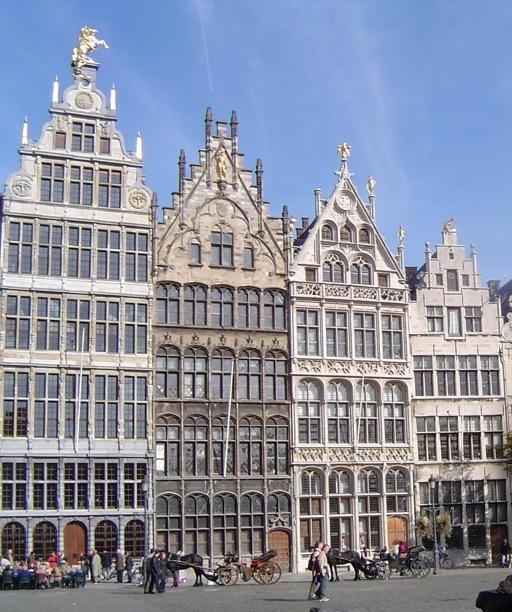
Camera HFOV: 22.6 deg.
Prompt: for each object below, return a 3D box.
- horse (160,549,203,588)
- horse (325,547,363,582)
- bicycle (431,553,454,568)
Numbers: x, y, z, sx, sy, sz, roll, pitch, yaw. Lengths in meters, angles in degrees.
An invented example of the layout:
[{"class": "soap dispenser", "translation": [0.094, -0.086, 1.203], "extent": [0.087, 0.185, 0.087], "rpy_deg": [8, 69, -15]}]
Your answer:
[{"class": "horse", "translation": [-2.933, 10.586, 52.318], "extent": [1.744, 1.785, 2.049], "rpy_deg": [4, -17, -20]}, {"class": "horse", "translation": [3.733, 11.226, 55.018], "extent": [1.452, 1.351, 2.664], "rpy_deg": [-3, -16, 4]}, {"class": "bicycle", "translation": [9.418, 12.944, 64.515], "extent": [1.365, 0.849, 0.623], "rpy_deg": [4, -23, -7]}]
